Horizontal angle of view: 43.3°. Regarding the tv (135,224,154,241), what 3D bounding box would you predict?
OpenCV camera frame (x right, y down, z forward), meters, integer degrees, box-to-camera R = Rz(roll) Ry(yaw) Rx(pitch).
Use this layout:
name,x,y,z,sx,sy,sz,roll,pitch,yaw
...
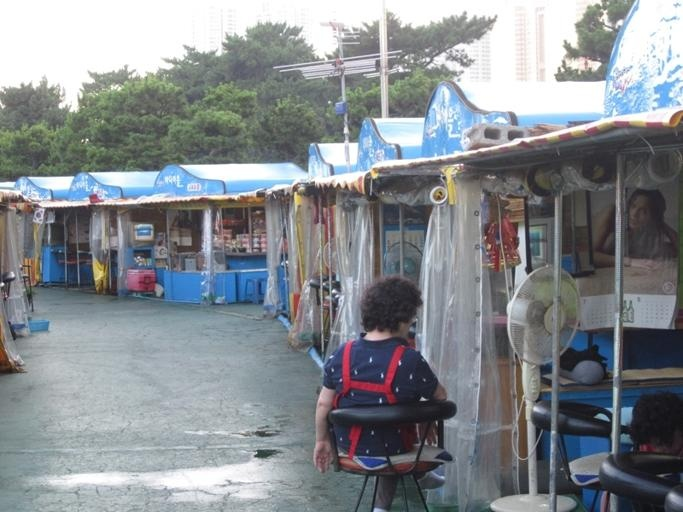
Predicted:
name,x,y,z,sx,sy,sz,roll,pitch,yaw
tv,-5.005,-0.585,21.841,0.407,0.397,0.095,4,-5,-30

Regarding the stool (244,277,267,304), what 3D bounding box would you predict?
name,x,y,z,sx,sy,sz,roll,pitch,yaw
stool,-1.980,0.791,19.910,0.469,0.552,0.214,-1,6,-7

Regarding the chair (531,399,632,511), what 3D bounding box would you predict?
name,x,y,z,sx,sy,sz,roll,pitch,yaw
chair,1.801,1.412,6.594,0.736,0.888,0.791,-12,-7,26

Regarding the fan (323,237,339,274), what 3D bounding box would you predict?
name,x,y,z,sx,sy,sz,roll,pitch,yaw
fan,-0.197,0.008,12.443,0.122,0.429,0.332,4,9,18

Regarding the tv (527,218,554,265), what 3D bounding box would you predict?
name,x,y,z,sx,sy,sz,roll,pitch,yaw
tv,1.855,-0.062,8.156,0.220,0.460,0.132,1,-3,-24

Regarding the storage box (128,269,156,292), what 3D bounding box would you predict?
name,x,y,z,sx,sy,sz,roll,pitch,yaw
storage box,-5.016,0.600,21.515,0.482,0.572,0.826,-1,2,-12
